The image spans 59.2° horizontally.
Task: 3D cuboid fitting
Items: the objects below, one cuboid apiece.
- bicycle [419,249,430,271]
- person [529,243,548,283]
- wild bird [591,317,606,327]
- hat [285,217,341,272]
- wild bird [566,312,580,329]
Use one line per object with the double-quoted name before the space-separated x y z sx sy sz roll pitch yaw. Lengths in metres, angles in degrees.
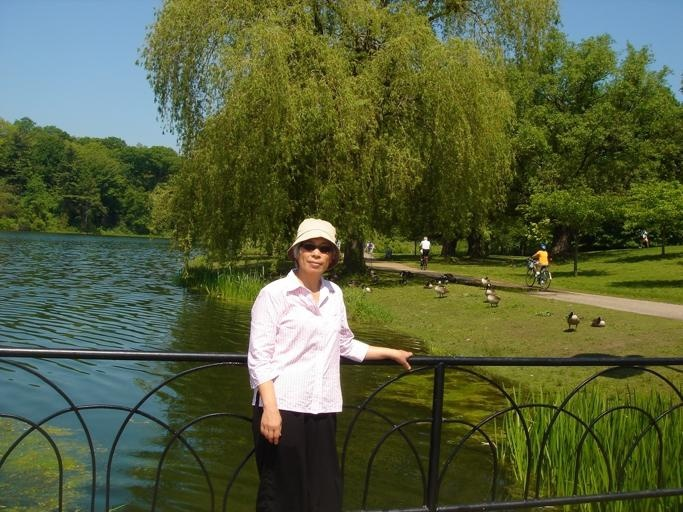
"bicycle" 4.920 0.133 34.263 0.684 0.954 1.485 1 6 -4
"person" 8.780 0.302 25.909 0.832 1.171 1.399 2 -11 8
"wild bird" 6.818 1.764 15.863 0.304 0.236 0.507 2 0 10
"hat" -0.220 -0.167 5.410 0.330 0.262 0.459 4 -33 -2
"wild bird" 6.095 1.701 15.652 0.283 0.476 0.623 -3 -3 15
